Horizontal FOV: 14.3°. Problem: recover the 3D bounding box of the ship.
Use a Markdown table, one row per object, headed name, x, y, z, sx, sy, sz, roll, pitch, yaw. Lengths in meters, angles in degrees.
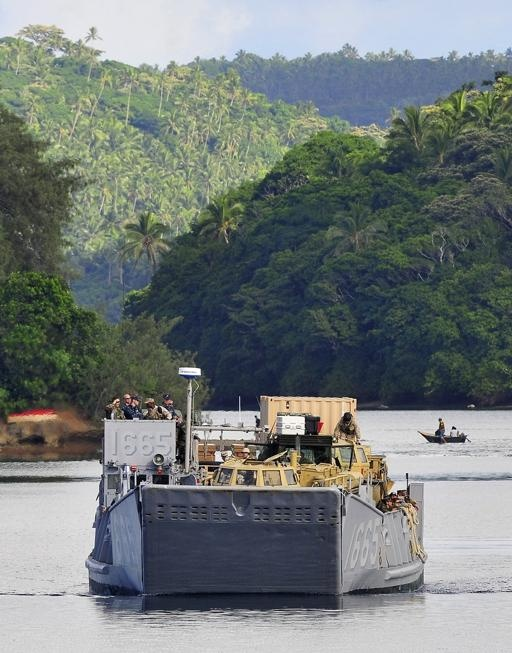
| name | x | y | z | sx | sy | sz | roll | pitch | yaw |
| --- | --- | --- | --- | --- | --- | --- | --- | --- | --- |
| ship | -0.272 | 3.799 | 52.965 | 8.146 | 5.827 | 14.948 | 0 | -2 | 3 |
